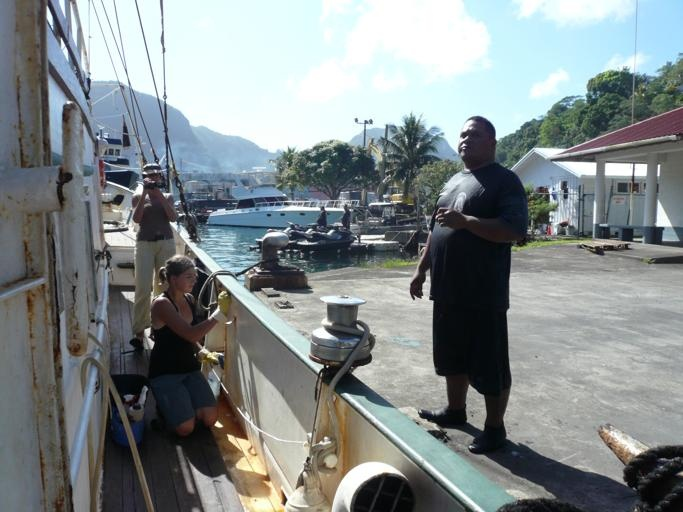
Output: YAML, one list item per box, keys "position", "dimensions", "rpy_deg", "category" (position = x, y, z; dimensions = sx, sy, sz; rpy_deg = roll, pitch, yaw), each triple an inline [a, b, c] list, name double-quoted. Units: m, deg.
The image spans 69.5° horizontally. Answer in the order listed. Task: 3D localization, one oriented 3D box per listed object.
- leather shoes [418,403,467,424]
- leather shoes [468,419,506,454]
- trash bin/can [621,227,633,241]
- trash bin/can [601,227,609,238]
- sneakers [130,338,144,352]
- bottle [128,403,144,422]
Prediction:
- position: [0.689, 1.065, 3.322]
  dimensions: [0.335, 0.155, 0.120]
  rpy_deg: [6, 2, 17]
  category: "leather shoes"
- position: [0.923, 1.113, 3.033]
  dimensions: [0.302, 0.133, 0.118]
  rpy_deg: [-1, 0, -38]
  category: "leather shoes"
- position: [9.171, -0.709, 15.754]
  dimensions: [0.412, 0.496, 0.431]
  rpy_deg: [-1, 1, 17]
  category: "trash bin/can"
- position: [9.322, -0.824, 17.433]
  dimensions: [0.181, 0.383, 0.513]
  rpy_deg: [6, 8, 41]
  category: "trash bin/can"
- position: [-2.078, 0.904, 4.996]
  dimensions: [0.104, 0.098, 0.157]
  rpy_deg: [-24, 3, -1]
  category: "sneakers"
- position: [-1.369, 1.050, 3.301]
  dimensions: [0.094, 0.087, 0.097]
  rpy_deg: [6, -7, 7]
  category: "bottle"
